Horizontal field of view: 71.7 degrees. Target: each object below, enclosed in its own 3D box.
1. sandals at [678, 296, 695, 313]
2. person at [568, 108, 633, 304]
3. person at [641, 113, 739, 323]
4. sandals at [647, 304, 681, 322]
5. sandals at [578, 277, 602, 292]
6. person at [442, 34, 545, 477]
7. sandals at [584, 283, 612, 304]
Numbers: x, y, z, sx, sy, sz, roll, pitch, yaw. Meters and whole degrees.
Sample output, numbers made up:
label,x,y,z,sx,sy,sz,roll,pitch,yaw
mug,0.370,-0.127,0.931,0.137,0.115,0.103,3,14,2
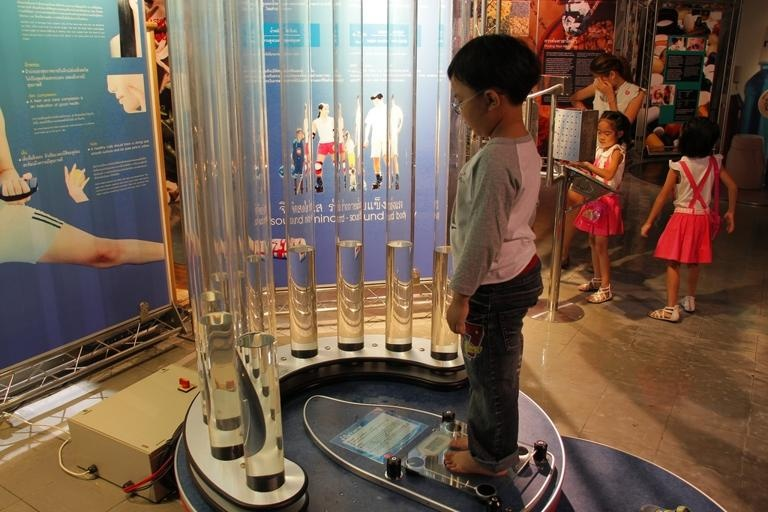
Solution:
label,x,y,z,sx,sy,sz,roll,pitch,yaw
sandals,2.309,0.358,4.043,0.071,0.093,0.156,3,22,25
person,1.718,-0.408,4.269,0.423,1.454,0.815,2,16,24
person,2.342,-0.338,4.083,0.576,1.422,1.051,6,18,35
sandals,2.083,0.429,3.951,0.114,0.098,0.222,-5,12,-15
sandals,1.728,0.240,4.456,0.204,0.092,0.083,1,15,8
person,0.411,0.030,2.091,0.337,1.711,0.477,8,19,39
sandals,1.736,0.304,4.276,0.208,0.091,0.120,-11,20,-27
